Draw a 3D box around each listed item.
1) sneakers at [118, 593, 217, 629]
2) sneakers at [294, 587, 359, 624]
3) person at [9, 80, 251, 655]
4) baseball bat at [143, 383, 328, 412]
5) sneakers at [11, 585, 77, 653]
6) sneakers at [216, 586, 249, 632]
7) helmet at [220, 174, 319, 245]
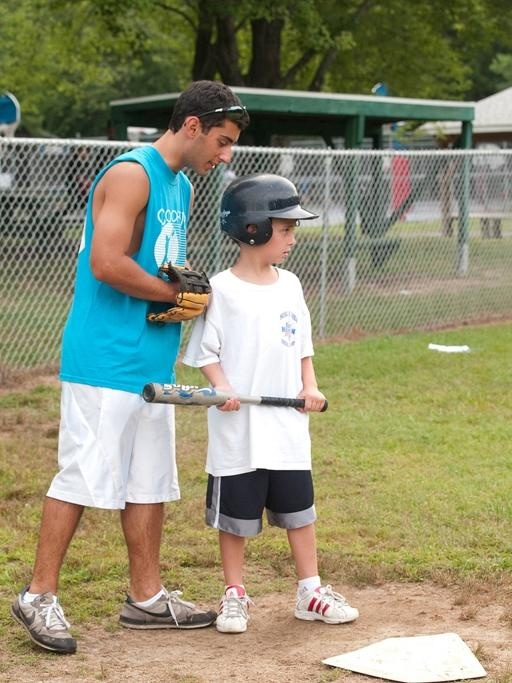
[{"bbox_3d":[-0.319,0.971,3.785,0.311,0.116,0.139,1,-7,-8],"label":"sneakers"},{"bbox_3d":[0.249,0.961,3.788,0.224,0.103,0.110,-2,0,22],"label":"sneakers"},{"bbox_3d":[-0.433,0.087,3.569,0.475,1.944,0.892,12,18,39],"label":"person"},{"bbox_3d":[-0.070,0.195,3.637,0.567,0.079,0.069,3,28,-35],"label":"baseball bat"},{"bbox_3d":[-0.721,0.922,3.553,0.302,0.132,0.111,34,17,31],"label":"sneakers"},{"bbox_3d":[-0.077,0.957,3.624,0.083,0.080,0.194,2,-4,-3],"label":"sneakers"},{"bbox_3d":[0.030,-0.497,3.838,0.385,0.243,0.248,2,14,5],"label":"helmet"}]
